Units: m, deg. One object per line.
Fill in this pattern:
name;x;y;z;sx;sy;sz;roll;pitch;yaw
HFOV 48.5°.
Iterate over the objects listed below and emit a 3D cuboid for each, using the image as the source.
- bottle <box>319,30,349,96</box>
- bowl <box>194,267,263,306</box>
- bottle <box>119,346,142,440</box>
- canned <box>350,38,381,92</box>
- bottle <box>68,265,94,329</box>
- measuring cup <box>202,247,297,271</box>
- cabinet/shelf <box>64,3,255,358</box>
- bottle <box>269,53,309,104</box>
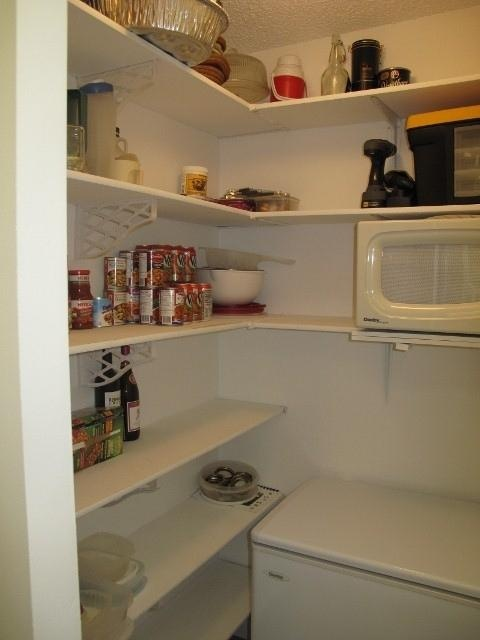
bottle;0.292;-0.760;1.633;0.109;0.192;0.104;-4;36;3
bowl;-0.006;-0.109;1.739;0.245;0.114;0.237;0;3;0
bottle;-0.314;0.192;1.471;0.073;0.280;0.060;-5;19;-34
canned;0.360;-0.739;1.560;0.114;0.136;0.092;-3;14;-2
bottle;-0.355;-0.043;1.177;0.040;0.134;0.118;0;4;13
measuring cup;-0.015;-0.244;1.916;0.344;0.094;0.252;-5;14;-37
cabinet/shelf;-0.205;-0.356;1.361;0.174;0.639;1.160;0;4;19
bottle;0.155;-0.762;1.746;0.157;0.147;0.160;0;-1;-3
